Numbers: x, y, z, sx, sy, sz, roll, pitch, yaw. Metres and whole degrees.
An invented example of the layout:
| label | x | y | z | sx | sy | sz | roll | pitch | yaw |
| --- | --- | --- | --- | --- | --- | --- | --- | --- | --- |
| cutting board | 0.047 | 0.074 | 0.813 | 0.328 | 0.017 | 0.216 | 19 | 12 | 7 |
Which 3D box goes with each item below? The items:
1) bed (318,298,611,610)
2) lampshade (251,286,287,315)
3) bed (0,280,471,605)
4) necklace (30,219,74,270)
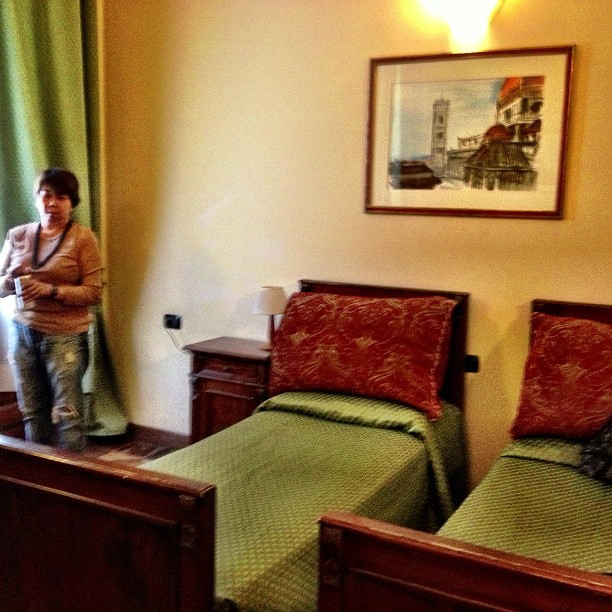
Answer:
| label | x | y | z | sx | sy | sz | roll | pitch | yaw |
| --- | --- | --- | --- | --- | --- | --- | --- | --- | --- |
| bed | 0.581 | 0.486 | 2.110 | 0.795 | 0.777 | 1.273 | 8 | 16 | 37 |
| lampshade | -0.199 | -0.034 | 3.223 | 0.167 | 0.148 | 0.164 | 1 | 4 | -1 |
| bed | -0.204 | 0.277 | 2.315 | 1.007 | 1.146 | 1.843 | 6 | 7 | 33 |
| necklace | -1.279 | -0.311 | 2.881 | 0.201 | 0.236 | 0.136 | -2 | 11 | -22 |
